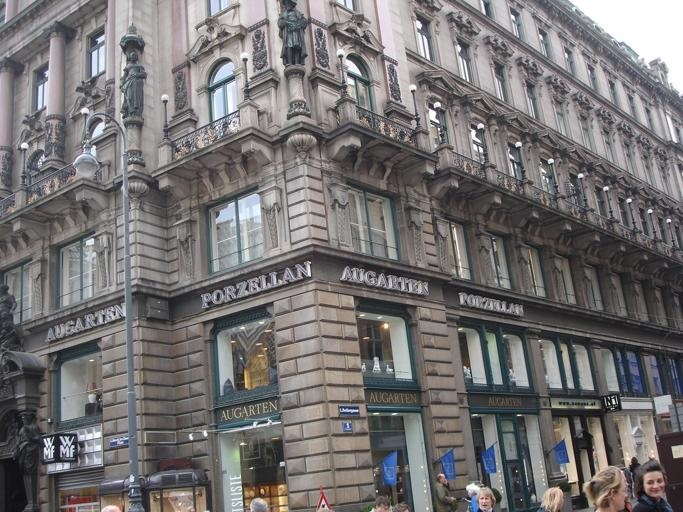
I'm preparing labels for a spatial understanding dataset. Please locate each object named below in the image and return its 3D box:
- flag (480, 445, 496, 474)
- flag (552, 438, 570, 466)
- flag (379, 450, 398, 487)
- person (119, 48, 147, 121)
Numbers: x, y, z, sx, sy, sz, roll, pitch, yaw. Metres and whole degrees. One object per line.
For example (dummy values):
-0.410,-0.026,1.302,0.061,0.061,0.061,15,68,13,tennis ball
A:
6.811,9.398,35.566,0.639,1.307,0.944,-9,-25,8,flag
11.071,9.870,38.984,0.649,1.358,1.934,-11,-26,12,flag
1.942,8.625,31.379,0.683,1.437,1.651,-6,-25,1,flag
-9.855,-8.268,36.955,1.149,3.878,1.280,4,-26,-18,person
